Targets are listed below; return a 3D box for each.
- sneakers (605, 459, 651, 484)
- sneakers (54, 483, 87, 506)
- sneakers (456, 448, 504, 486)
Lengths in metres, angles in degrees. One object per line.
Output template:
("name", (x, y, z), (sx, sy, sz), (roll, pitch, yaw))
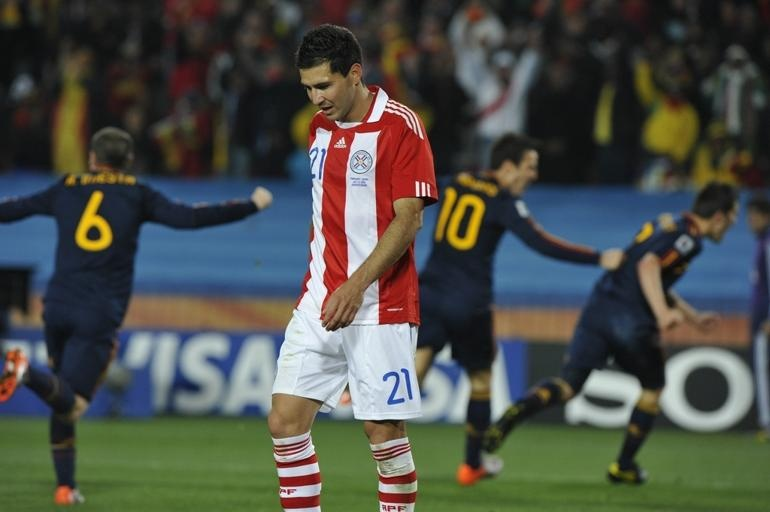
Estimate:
("sneakers", (1.838, 1.658, 9.419), (0.304, 0.127, 0.128), (-1, -19, 1))
("sneakers", (-2.284, 1.738, 8.985), (0.229, 0.107, 0.133), (4, -21, -33))
("sneakers", (0.754, 1.672, 9.707), (0.361, 0.170, 0.227), (-30, 49, -21))
